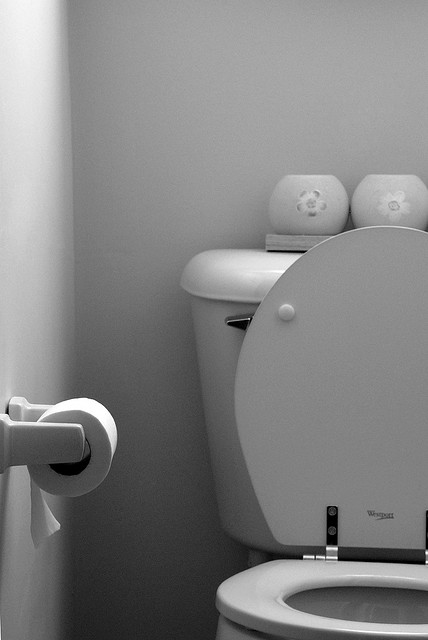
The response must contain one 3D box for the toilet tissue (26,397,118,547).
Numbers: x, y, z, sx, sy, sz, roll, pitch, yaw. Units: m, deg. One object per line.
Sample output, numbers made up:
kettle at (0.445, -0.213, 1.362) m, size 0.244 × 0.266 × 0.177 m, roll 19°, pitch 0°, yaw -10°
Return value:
toilet tissue at (-0.138, 0.147, 0.682) m, size 0.078 × 0.144 × 0.185 m, roll 5°, pitch -8°, yaw -12°
